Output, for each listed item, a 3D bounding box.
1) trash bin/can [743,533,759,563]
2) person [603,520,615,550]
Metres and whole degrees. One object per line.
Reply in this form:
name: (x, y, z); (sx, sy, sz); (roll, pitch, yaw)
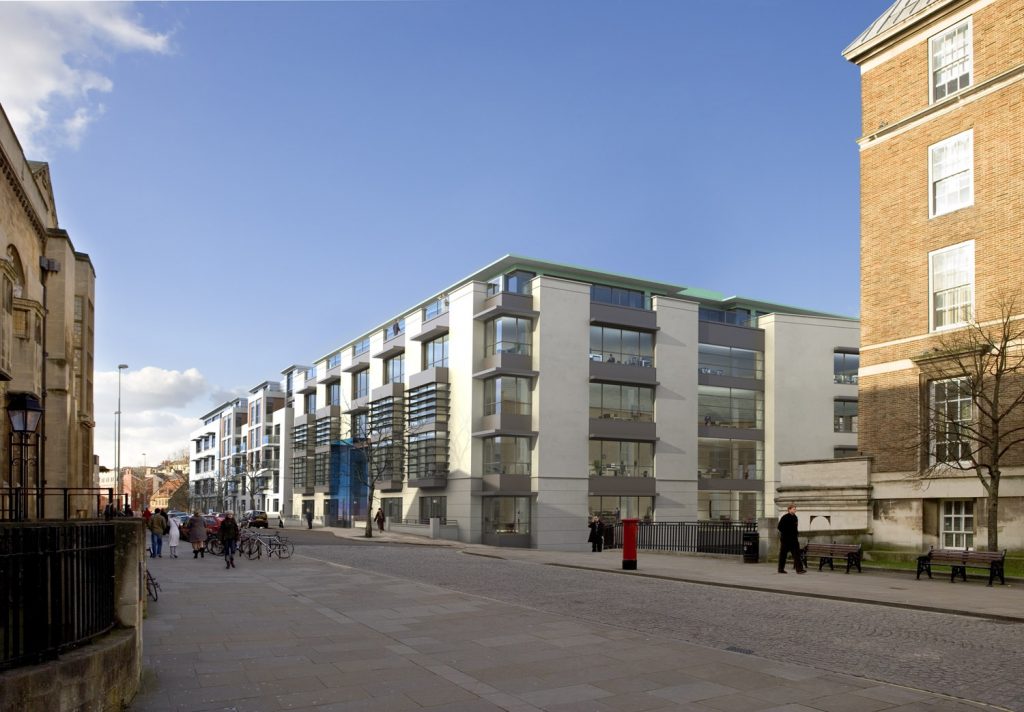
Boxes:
trash bin/can: (8.199, 6.630, 35.303); (0.567, 1.054, 0.528); (-2, -14, 12)
person: (4.584, 8.642, 49.013); (0.427, 1.256, 1.093); (-1, -14, 7)
